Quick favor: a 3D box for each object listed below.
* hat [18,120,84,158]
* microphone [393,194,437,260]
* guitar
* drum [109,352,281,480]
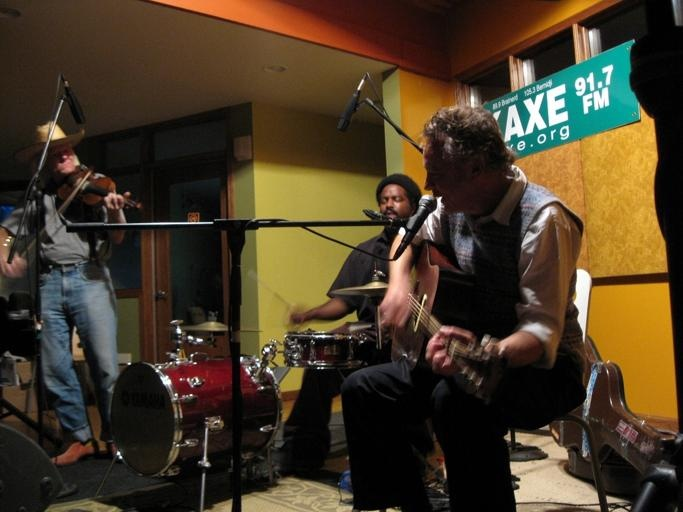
[{"bbox_3d":[-1.837,-0.718,4.107,0.361,0.166,0.431,-22,2,-19],"label":"hat"},{"bbox_3d":[0.322,-0.119,2.880,0.092,0.364,0.093,29,2,-24],"label":"microphone"},{"bbox_3d":[0.384,0.254,2.483,0.136,0.528,0.999,15,4,-7],"label":"guitar"},{"bbox_3d":[-0.758,0.836,3.460,0.554,0.633,0.723,-2,-4,42],"label":"drum"}]
